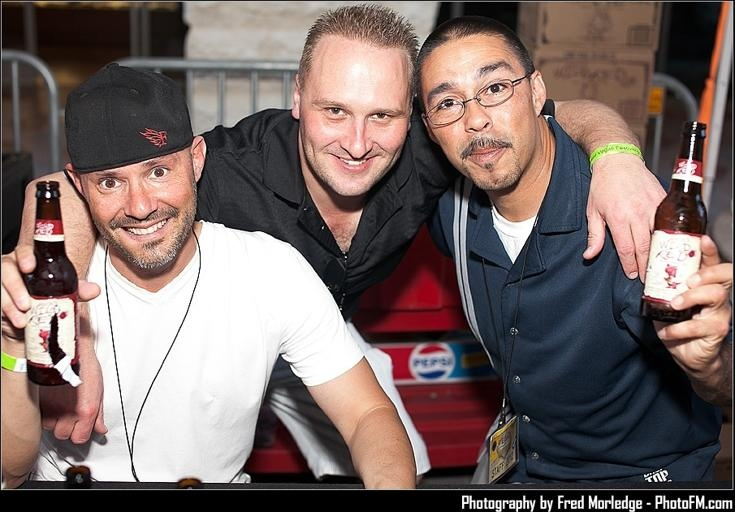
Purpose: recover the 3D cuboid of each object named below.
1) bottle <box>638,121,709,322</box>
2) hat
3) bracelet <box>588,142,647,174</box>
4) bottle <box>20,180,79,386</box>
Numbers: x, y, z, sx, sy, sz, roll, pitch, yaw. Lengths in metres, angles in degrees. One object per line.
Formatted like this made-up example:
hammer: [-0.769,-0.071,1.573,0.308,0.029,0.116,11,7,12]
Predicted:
bottle: [1.205,-0.093,2.530,0.215,0.839,0.421,5,12,24]
hat: [-1.004,-0.588,2.844,0.394,0.313,0.518,-13,21,7]
bracelet: [1.152,-0.465,3.015,0.232,0.120,0.134,4,12,17]
bottle: [-1.170,0.107,2.367,0.198,0.752,0.353,-5,12,-25]
